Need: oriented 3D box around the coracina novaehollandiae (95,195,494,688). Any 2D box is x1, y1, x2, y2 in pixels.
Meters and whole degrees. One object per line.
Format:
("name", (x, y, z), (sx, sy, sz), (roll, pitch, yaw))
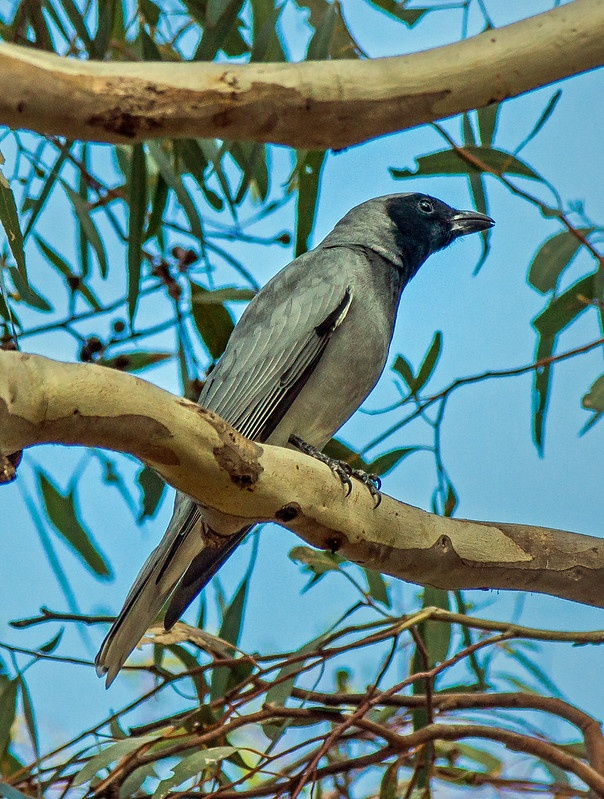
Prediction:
("coracina novaehollandiae", (0.001, 0.030, 4.991), (1.275, 1.242, 0.395), (-11, -26, 8))
